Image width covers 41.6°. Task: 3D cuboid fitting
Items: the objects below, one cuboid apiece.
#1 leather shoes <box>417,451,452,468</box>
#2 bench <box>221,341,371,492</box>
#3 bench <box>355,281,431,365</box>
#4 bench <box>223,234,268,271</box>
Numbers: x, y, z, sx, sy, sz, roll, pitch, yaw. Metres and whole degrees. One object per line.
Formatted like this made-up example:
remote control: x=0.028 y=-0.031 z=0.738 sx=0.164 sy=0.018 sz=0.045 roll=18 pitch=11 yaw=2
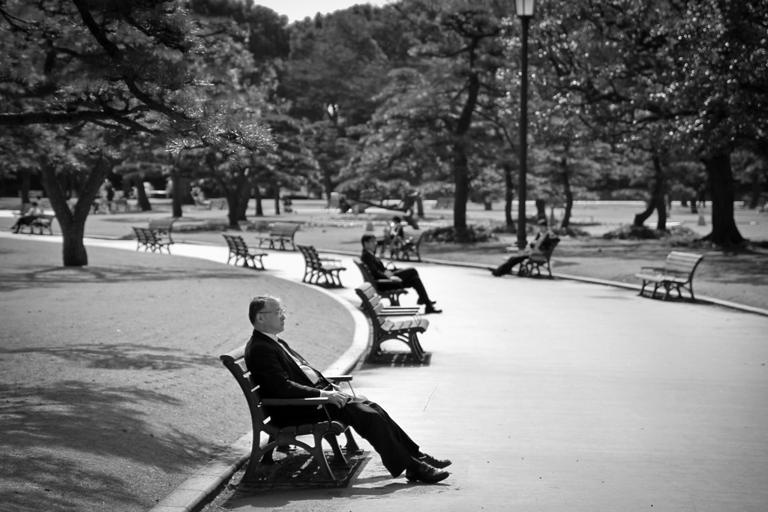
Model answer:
leather shoes: x=0.745 y=2.967 z=14.778 sx=0.601 sy=0.250 sz=0.205 roll=5 pitch=4 yaw=-2
bench: x=-1.180 y=2.612 z=15.339 sx=1.775 sy=1.733 sz=2.737 roll=-2 pitch=-5 yaw=1
bench: x=0.252 y=1.259 z=20.080 sx=1.546 sy=1.354 sz=2.013 roll=2 pitch=3 yaw=-4
bench: x=-4.807 y=-0.208 z=34.599 sx=0.785 sy=0.856 sz=2.226 roll=3 pitch=5 yaw=-26
